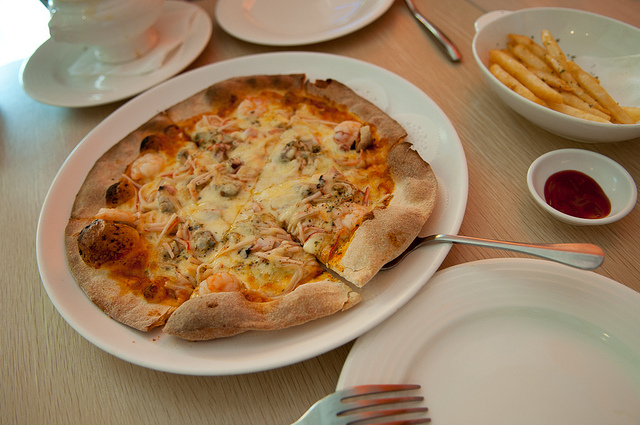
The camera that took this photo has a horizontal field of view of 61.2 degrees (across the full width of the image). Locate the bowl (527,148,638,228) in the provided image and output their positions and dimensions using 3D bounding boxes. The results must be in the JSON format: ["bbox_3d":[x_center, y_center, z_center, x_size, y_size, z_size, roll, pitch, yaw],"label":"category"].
[{"bbox_3d":[1.275,-0.139,2.648,0.496,0.194,0.389,13,84,1],"label":"bowl"}]
